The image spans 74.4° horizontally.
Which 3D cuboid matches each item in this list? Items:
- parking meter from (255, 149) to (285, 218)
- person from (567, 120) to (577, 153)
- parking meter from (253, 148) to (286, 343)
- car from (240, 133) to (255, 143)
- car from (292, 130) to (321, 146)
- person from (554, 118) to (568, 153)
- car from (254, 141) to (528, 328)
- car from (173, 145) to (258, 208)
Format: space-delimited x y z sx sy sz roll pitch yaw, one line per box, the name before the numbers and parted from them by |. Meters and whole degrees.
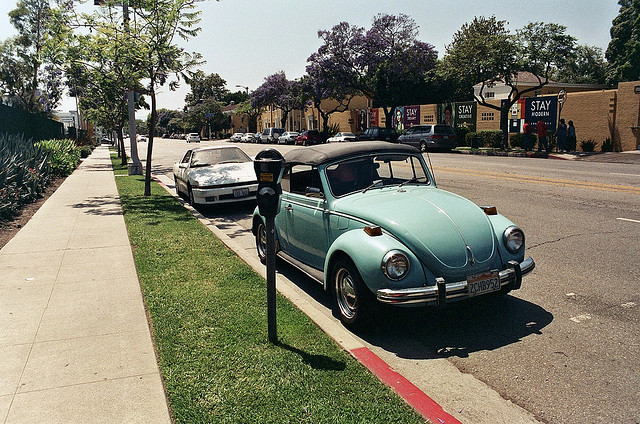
parking meter | -0.601 -0.326 5.047 0.346 0.807 0.203 -3 10 -9
person | 15.959 -4.743 26.698 0.477 1.936 1.358 4 12 31
parking meter | -0.592 0.426 5.268 0.357 2.378 0.396 -3 10 -7
car | -12.202 -11.805 69.431 1.445 1.326 3.584 -5 15 -17
car | -1.563 -8.236 48.595 1.707 1.451 3.974 -6 18 -17
person | 15.105 -4.687 26.368 0.608 1.997 1.261 4 12 29
car | 0.640 0.241 6.869 2.324 1.953 4.219 -7 8 -30
car | -3.332 -1.100 13.510 2.228 1.822 3.064 -6 12 -19
